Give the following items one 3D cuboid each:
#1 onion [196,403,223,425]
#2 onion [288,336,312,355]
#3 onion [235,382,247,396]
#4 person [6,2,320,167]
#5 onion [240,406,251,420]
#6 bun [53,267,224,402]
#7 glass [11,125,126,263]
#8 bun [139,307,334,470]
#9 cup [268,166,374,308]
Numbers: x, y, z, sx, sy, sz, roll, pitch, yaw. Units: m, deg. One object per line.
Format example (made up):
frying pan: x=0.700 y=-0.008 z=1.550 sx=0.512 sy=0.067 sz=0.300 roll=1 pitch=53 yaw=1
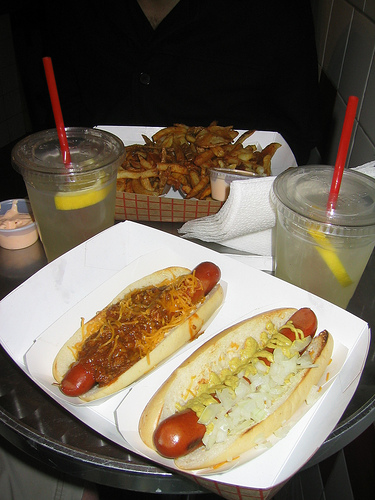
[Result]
onion: x=0.054 y=0.400 z=0.909 sx=0.031 sy=0.014 sz=0.061 roll=30 pitch=24 yaw=19
onion: x=0.315 y=0.268 z=1.044 sx=0.035 sy=0.059 sz=0.016 roll=53 pitch=22 yaw=3
onion: x=0.137 y=0.361 z=0.955 sx=0.023 sy=0.015 sz=0.039 roll=30 pitch=45 yaw=35
person: x=-0.146 y=-1.568 z=3.321 sx=2.657 sy=1.070 sz=0.548 roll=3 pitch=36 yaw=4
onion: x=0.145 y=0.412 z=0.933 sx=0.027 sy=0.031 sz=0.020 roll=5 pitch=36 yaw=7
bun: x=-0.120 y=0.290 z=1.195 sx=0.546 sy=0.096 sz=0.274 roll=-32 pitch=52 yaw=-28
glass: x=-0.405 y=-0.130 z=1.376 sx=0.303 sy=0.547 sz=0.314 roll=11 pitch=36 yaw=17
bun: x=0.139 y=0.371 z=0.980 sx=0.401 sy=0.238 sz=0.455 roll=25 pitch=42 yaw=35
cup: x=0.334 y=-0.051 z=1.249 sx=0.409 sy=0.388 sz=0.407 roll=-5 pitch=42 yaw=4
